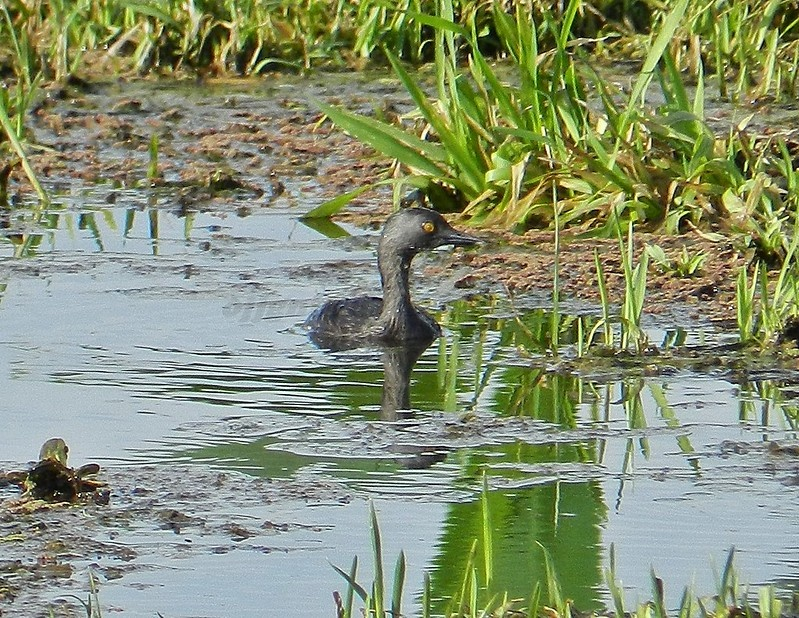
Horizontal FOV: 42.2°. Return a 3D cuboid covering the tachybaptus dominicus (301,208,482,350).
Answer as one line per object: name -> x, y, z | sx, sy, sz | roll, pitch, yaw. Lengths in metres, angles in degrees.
tachybaptus dominicus -> -0.053, -0.207, 6.033 | 0.710, 0.807, 1.102 | -2, 2, 27
